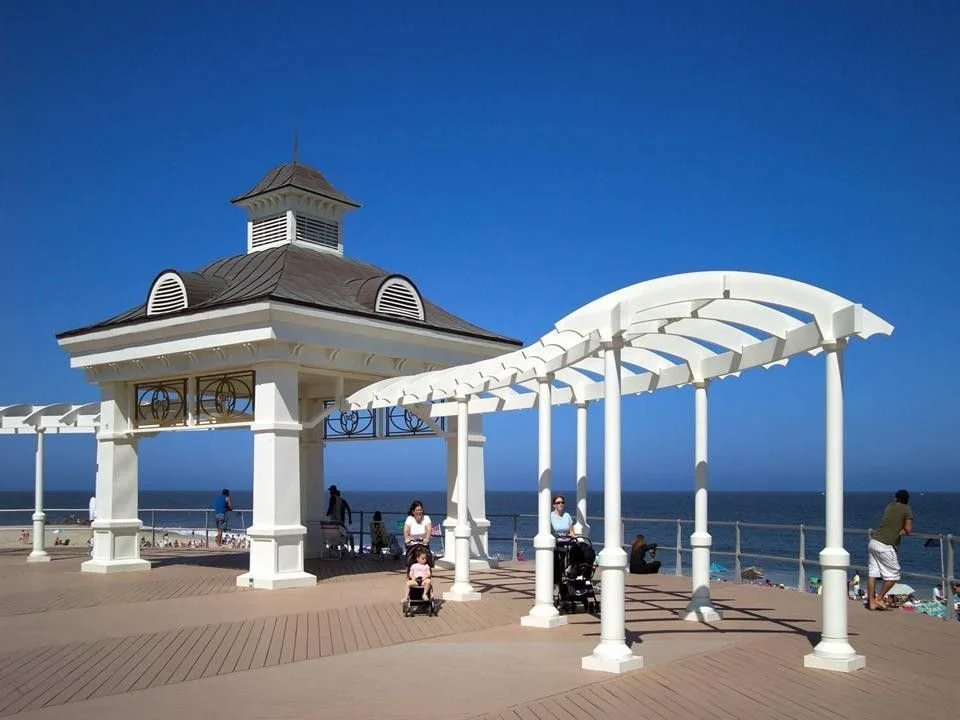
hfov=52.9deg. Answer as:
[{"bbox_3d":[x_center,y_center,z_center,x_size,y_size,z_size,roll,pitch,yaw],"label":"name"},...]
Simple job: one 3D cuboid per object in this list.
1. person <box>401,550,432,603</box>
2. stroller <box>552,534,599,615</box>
[{"bbox_3d":[-1.039,3.639,16.364,0.439,0.888,0.685,1,-9,-5],"label":"person"},{"bbox_3d":[1.685,3.636,16.481,0.759,1.248,0.602,2,-9,-12],"label":"stroller"}]
